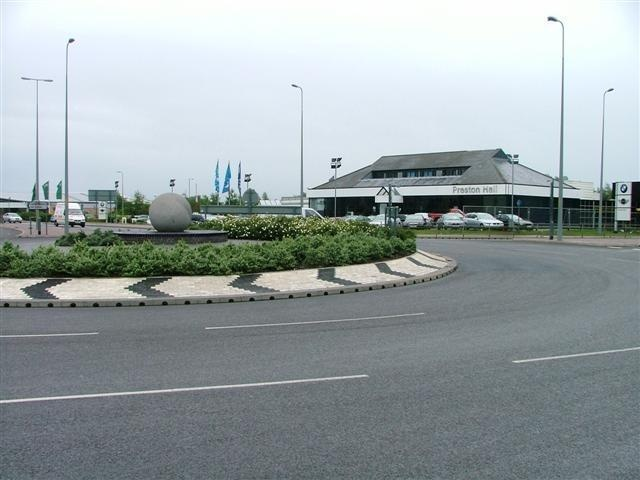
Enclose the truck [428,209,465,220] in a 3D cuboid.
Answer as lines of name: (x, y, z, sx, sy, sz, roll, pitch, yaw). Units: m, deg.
truck: (14.311, -2.981, 73.405, 3.636, 1.496, 1.858, -1, 3, 9)
